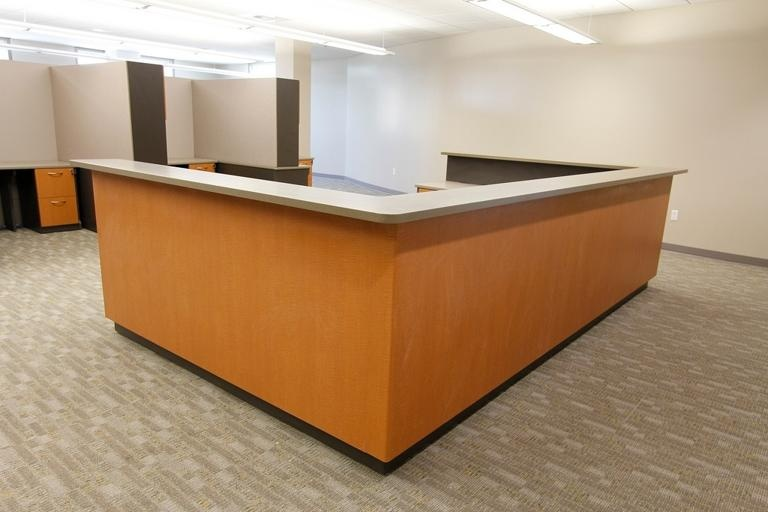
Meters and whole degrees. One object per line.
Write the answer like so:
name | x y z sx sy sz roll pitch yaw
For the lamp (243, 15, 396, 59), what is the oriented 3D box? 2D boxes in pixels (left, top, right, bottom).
lamp | -0.963 -3.152 7.270 1.115 0.294 2.335 11 21 28

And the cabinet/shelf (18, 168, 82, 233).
cabinet/shelf | -4.207 -0.720 6.381 0.585 0.939 0.928 -8 14 -37
